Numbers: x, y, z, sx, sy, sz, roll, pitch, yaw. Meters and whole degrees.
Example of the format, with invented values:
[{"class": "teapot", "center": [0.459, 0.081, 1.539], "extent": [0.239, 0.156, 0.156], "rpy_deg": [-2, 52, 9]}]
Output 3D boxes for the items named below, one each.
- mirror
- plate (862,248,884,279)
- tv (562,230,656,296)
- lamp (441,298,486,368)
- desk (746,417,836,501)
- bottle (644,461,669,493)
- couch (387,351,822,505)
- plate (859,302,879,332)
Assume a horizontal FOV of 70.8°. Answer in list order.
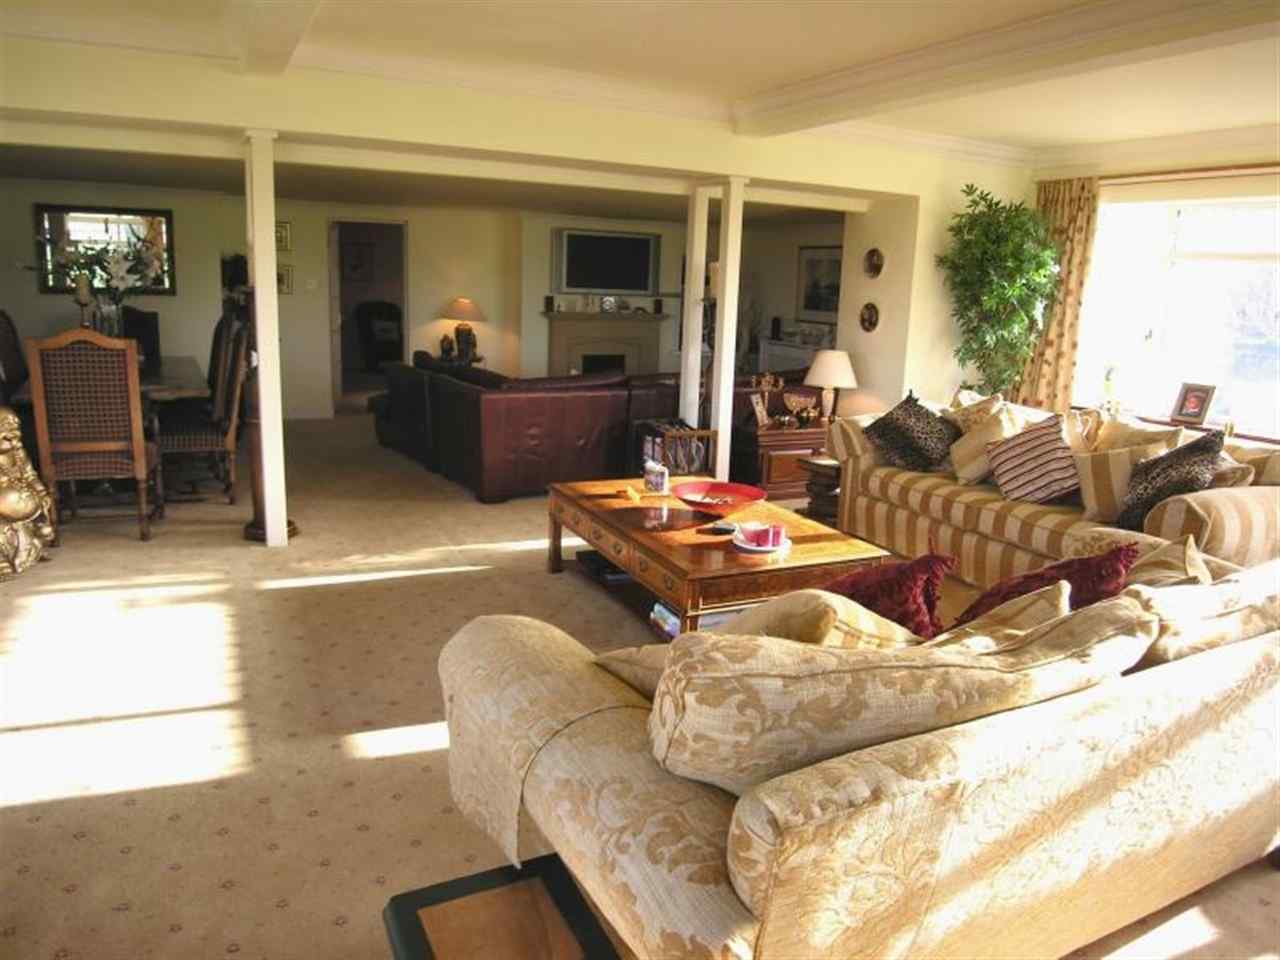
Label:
[{"class": "mirror", "center": [-4.890, -2.091, 8.255], "extent": [1.288, 0.837, 0.055], "rpy_deg": [1, 4, -1]}, {"class": "plate", "center": [1.949, -1.798, 7.477], "extent": [0.022, 0.254, 0.229], "rpy_deg": [-11, 14, -25]}, {"class": "tv", "center": [-0.409, -2.531, 10.427], "extent": [0.932, 0.491, 0.061], "rpy_deg": [-4, 13, -29]}, {"class": "lamp", "center": [-1.994, -1.673, 10.349], "extent": [0.554, 0.762, 0.488], "rpy_deg": [1, 7, 16]}, {"class": "desk", "center": [1.082, -0.143, 7.143], "extent": [0.680, 0.576, 0.386], "rpy_deg": [-5, 12, -33]}, {"class": "bottle", "center": [0.087, -0.014, 4.825], "extent": [0.094, 0.149, 0.168], "rpy_deg": [-16, 24, -43]}, {"class": "couch", "center": [-0.903, -0.462, 6.899], "extent": [3.054, 1.082, 1.304], "rpy_deg": [3, 14, 32]}, {"class": "plate", "center": [1.939, -1.366, 7.570], "extent": [0.031, 0.250, 0.256], "rpy_deg": [-11, 13, -24]}]
